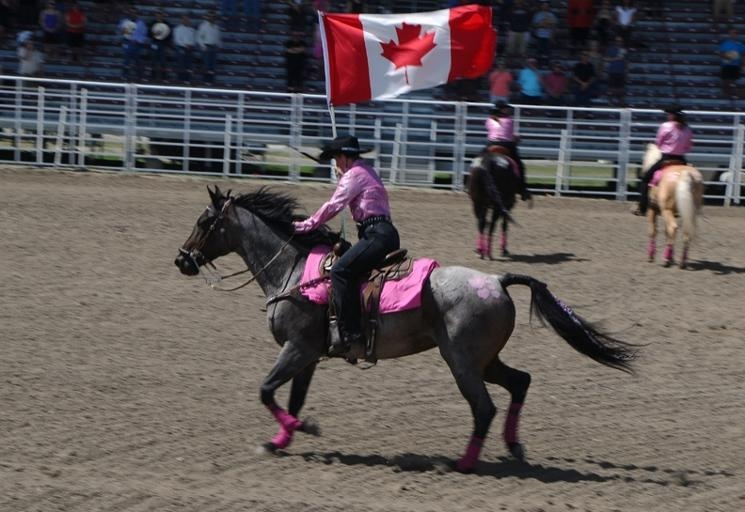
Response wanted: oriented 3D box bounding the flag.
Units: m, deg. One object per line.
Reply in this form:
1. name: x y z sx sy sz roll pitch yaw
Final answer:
1. flag: 0.429 -2.801 17.115 0.685 1.464 2.702 11 12 42

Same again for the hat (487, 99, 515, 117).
1. hat: 2.047 -2.344 19.759 0.307 0.240 0.418 2 8 -1

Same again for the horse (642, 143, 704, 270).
1. horse: 4.661 -0.799 19.548 0.850 1.803 1.416 5 9 10

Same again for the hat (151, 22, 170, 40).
1. hat: -4.372 -4.698 25.920 0.433 0.338 0.264 4 9 8

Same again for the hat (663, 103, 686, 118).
1. hat: 4.698 -2.239 19.520 0.291 0.256 0.393 4 8 8

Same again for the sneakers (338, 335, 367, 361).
1. sneakers: -0.241 1.086 14.638 0.333 0.121 0.331 7 -13 1
